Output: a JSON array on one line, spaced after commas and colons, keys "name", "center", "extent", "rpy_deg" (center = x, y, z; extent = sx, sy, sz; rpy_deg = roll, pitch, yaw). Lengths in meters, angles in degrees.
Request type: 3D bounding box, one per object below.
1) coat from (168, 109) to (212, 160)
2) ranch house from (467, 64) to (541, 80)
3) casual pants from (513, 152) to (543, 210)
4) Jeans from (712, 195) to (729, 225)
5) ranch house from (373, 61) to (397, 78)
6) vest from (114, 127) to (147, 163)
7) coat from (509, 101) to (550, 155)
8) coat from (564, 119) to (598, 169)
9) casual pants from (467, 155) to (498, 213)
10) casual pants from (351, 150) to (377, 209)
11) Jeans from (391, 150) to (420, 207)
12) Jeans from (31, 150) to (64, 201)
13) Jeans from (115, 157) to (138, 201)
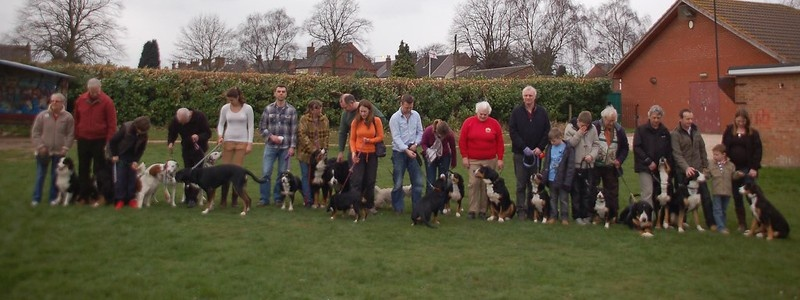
[{"name": "coat", "center": [-12.179, -1.034, 34.319], "extent": [2.184, 2.744, 0.799], "rpy_deg": [3, -5, -11]}, {"name": "ranch house", "center": [14.097, -10.331, 77.243], "extent": [7.208, 2.443, 5.206], "rpy_deg": [1, -3, 4]}, {"name": "casual pants", "center": [7.229, 1.910, 33.926], "extent": [1.333, 3.439, 0.746], "rpy_deg": [1, -5, 10]}, {"name": "Jeans", "center": [18.206, 3.491, 33.300], "extent": [1.034, 1.885, 0.557], "rpy_deg": [5, -6, -28]}, {"name": "ranch house", "center": [-2.578, -13.774, 100.367], "extent": [4.824, 2.198, 6.061], "rpy_deg": [-5, 5, -17]}, {"name": "vest", "center": [-15.519, -0.348, 33.945], "extent": [1.586, 1.669, 1.257], "rpy_deg": [24, -4, -38]}, {"name": "coat", "center": [7.422, -1.206, 33.921], "extent": [2.205, 2.977, 0.463], "rpy_deg": [1, -5, 8]}, {"name": "coat", "center": [10.401, -0.222, 33.621], "extent": [1.951, 2.579, 0.427], "rpy_deg": [3, -5, -8]}, {"name": "casual pants", "center": [4.686, 2.136, 34.111], "extent": [1.430, 3.223, 0.877], "rpy_deg": [2, -5, 5]}, {"name": "casual pants", "center": [-2.105, 1.680, 34.031], "extent": [1.472, 3.020, 0.918], "rpy_deg": [2, -5, -2]}, {"name": "Jeans", "center": [0.378, 1.852, 34.195], "extent": [1.717, 3.466, 1.049], "rpy_deg": [2, -5, -1]}, {"name": "Jeans", "center": [-20.616, 1.673, 34.469], "extent": [1.214, 2.730, 2.319], "rpy_deg": [5, -5, -33]}, {"name": "Jeans", "center": [-15.811, 1.771, 34.433], "extent": [0.975, 2.815, 1.813], "rpy_deg": [0, -1, 0]}]
